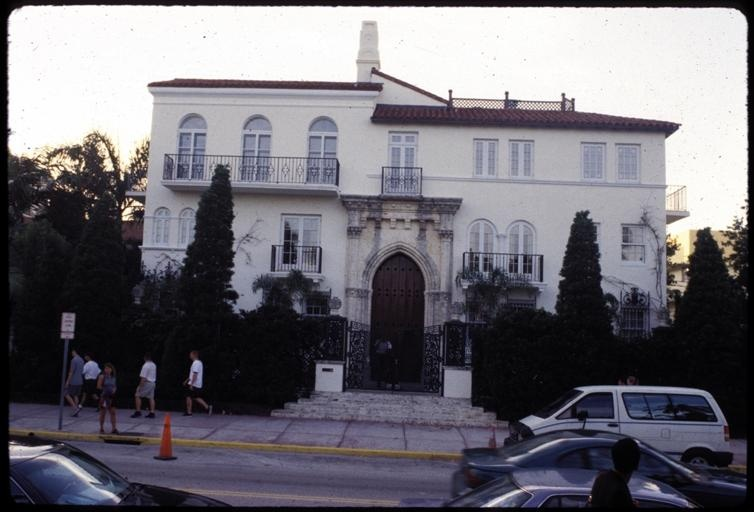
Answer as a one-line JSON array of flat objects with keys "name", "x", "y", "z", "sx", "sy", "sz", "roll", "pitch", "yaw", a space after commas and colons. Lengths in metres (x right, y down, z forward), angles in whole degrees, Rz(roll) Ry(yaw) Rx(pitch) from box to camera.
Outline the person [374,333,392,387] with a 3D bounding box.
[{"name": "person", "x": 0.225, "y": 4.297, "z": 33.447, "sx": 0.641, "sy": 1.801, "sz": 1.599, "roll": 3, "pitch": -9, "yaw": 1}]

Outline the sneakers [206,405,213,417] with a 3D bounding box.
[{"name": "sneakers", "x": -5.937, "y": 5.435, "z": 29.645, "sx": 0.133, "sy": 0.398, "sz": 0.155, "roll": 5, "pitch": 17, "yaw": -13}]

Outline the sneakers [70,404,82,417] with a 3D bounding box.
[{"name": "sneakers", "x": -10.368, "y": 5.251, "z": 28.819, "sx": 0.244, "sy": 0.291, "sz": 0.676, "roll": -18, "pitch": 12, "yaw": -20}]

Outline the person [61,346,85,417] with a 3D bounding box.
[{"name": "person", "x": -10.549, "y": 4.367, "z": 29.103, "sx": 0.593, "sy": 2.251, "sz": 1.218, "roll": 6, "pitch": -10, "yaw": -20}]

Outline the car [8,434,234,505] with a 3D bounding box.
[{"name": "car", "x": -5.548, "y": 4.796, "z": 18.216, "sx": 4.371, "sy": 1.486, "sz": 2.023, "roll": -1, "pitch": -4, "yaw": 6}]

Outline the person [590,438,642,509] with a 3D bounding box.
[{"name": "person", "x": 5.000, "y": 4.580, "z": 17.587, "sx": 0.781, "sy": 1.498, "sz": 1.180, "roll": 0, "pitch": 11, "yaw": -19}]

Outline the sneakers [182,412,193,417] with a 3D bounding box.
[{"name": "sneakers", "x": -6.655, "y": 5.479, "z": 29.211, "sx": 0.313, "sy": 0.136, "sz": 0.114, "roll": -3, "pitch": -2, "yaw": 20}]

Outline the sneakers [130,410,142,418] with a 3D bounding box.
[{"name": "sneakers", "x": -8.244, "y": 5.350, "z": 28.552, "sx": 0.339, "sy": 0.233, "sz": 0.179, "roll": 7, "pitch": -8, "yaw": -5}]

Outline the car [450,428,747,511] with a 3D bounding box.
[{"name": "car", "x": 5.099, "y": 4.910, "z": 20.037, "sx": 5.873, "sy": 1.749, "sz": 2.611, "roll": -2, "pitch": -2, "yaw": -5}]

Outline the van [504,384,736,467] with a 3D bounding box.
[{"name": "van", "x": 7.332, "y": 4.685, "z": 24.680, "sx": 5.073, "sy": 1.999, "sz": 2.657, "roll": 1, "pitch": -8, "yaw": 4}]

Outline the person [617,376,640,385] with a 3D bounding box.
[{"name": "person", "x": 8.530, "y": 4.209, "z": 28.400, "sx": 0.625, "sy": 0.339, "sz": 0.846, "roll": -4, "pitch": -6, "yaw": 40}]
